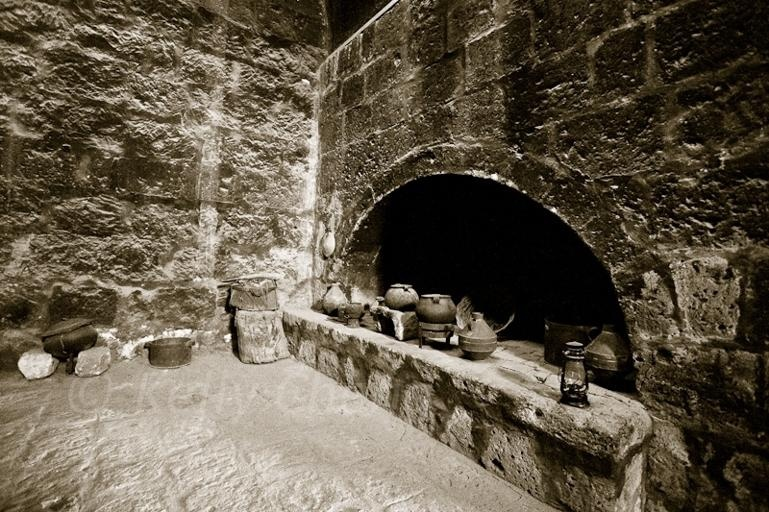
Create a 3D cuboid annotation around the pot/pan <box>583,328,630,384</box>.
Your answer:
[{"bbox_3d":[1.301,0.577,2.769,0.236,0.340,0.145,1,-5,31],"label":"pot/pan"}]

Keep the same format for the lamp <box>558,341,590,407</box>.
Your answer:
[{"bbox_3d":[1.056,0.647,2.635,0.151,0.333,0.200,2,-4,21],"label":"lamp"}]

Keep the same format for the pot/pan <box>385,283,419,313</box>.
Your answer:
[{"bbox_3d":[0.133,0.330,3.664,0.204,0.173,0.205,6,-7,-25],"label":"pot/pan"}]

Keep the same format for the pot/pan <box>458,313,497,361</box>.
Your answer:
[{"bbox_3d":[0.615,0.536,3.196,0.270,0.315,0.277,-1,-5,31],"label":"pot/pan"}]

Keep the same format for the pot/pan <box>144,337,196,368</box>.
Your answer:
[{"bbox_3d":[-1.717,0.787,3.892,0.293,0.150,0.245,1,4,5],"label":"pot/pan"}]

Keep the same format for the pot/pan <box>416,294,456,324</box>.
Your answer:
[{"bbox_3d":[0.356,0.376,3.354,0.211,0.163,0.203,1,-13,1],"label":"pot/pan"}]

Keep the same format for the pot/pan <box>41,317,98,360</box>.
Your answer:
[{"bbox_3d":[-2.365,0.629,3.599,0.296,0.220,0.305,-3,4,36],"label":"pot/pan"}]
